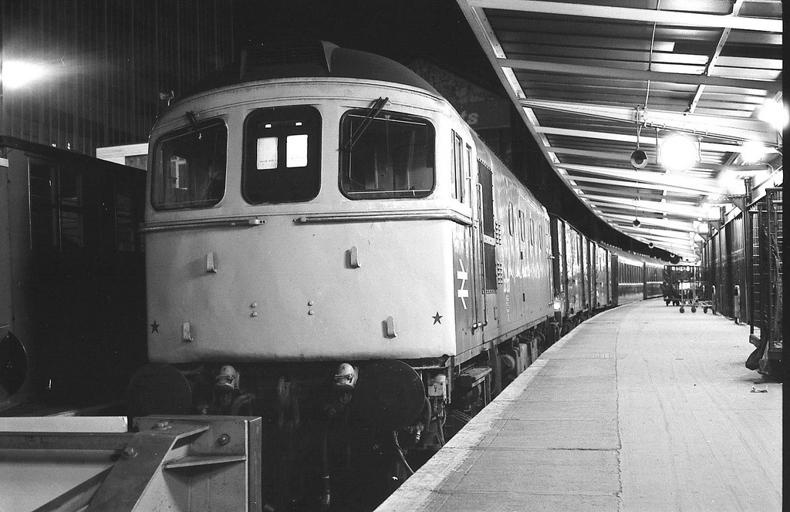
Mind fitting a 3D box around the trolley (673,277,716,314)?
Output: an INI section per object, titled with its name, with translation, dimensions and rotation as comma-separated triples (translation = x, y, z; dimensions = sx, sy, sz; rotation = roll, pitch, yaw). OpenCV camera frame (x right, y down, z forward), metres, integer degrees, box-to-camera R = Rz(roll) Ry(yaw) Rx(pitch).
[trolley]
translation = 13.942, 1.886, 40.138
dimensions = 1.379, 1.982, 2.733
rotation = -2, -12, 20
